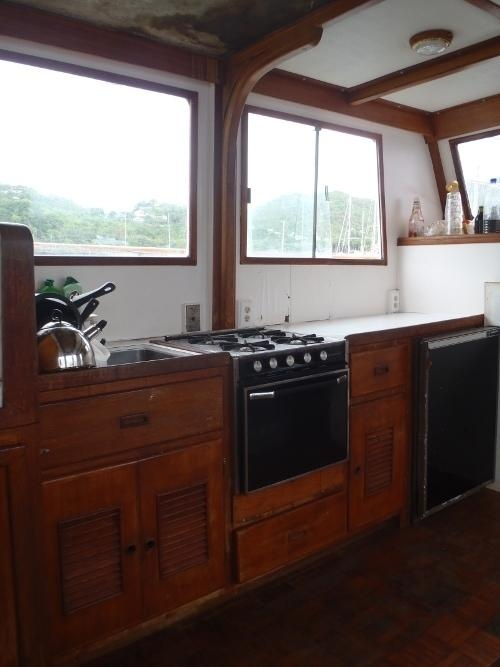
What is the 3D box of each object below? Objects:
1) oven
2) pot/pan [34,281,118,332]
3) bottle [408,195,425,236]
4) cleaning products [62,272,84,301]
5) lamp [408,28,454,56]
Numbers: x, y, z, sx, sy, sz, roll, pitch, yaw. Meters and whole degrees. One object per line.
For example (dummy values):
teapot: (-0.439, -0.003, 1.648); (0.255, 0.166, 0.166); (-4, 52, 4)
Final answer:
oven: (0.166, 0.331, 1.844); (0.571, 0.382, 0.335); (-9, 10, -40)
pot/pan: (-0.551, -0.099, 1.586); (0.032, 0.159, 0.240); (11, 28, 36)
bottle: (1.119, -0.778, 3.464); (0.104, 0.274, 0.230); (0, 3, 17)
cleaning products: (-0.634, -0.171, 1.849); (0.086, 0.111, 0.042); (-8, -9, -27)
lamp: (0.804, -1.270, 2.281); (0.184, 0.062, 0.279); (0, 4, 18)
